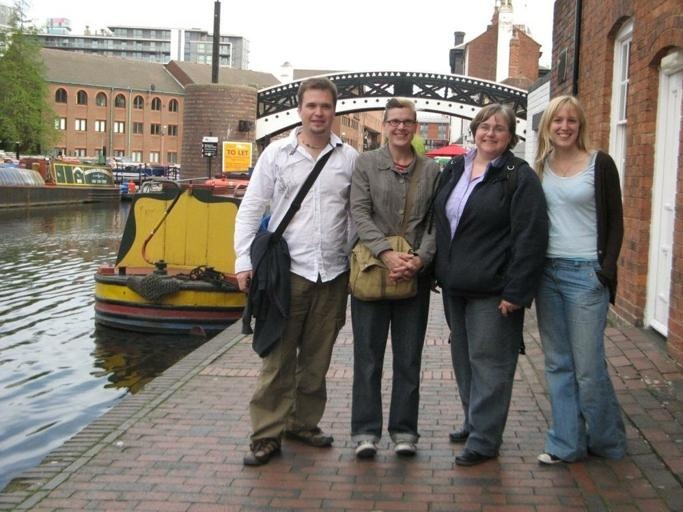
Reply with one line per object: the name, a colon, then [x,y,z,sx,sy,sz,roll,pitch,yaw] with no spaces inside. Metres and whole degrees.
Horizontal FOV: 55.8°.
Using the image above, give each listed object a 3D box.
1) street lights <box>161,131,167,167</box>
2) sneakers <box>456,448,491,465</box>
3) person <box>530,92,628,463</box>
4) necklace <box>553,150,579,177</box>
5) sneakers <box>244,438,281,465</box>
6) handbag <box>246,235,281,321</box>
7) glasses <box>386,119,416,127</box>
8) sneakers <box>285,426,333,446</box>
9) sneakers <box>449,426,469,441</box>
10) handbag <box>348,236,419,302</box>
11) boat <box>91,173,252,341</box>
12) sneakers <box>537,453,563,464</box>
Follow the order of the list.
street lights: [-24.169,-14.512,87.411,0.915,3.903,0.806,-6,8,-38]
sneakers: [0.859,1.340,4.308,0.268,0.103,0.091,4,2,-9]
person: [1.546,0.171,4.203,0.604,2.393,0.334,2,7,22]
necklace: [1.477,-0.604,4.241,0.146,0.150,0.038,19,2,31]
sneakers: [-0.532,1.306,4.392,0.154,0.146,0.318,2,7,25]
handbag: [-0.558,0.157,4.434,0.219,0.670,0.238,4,7,-6]
glasses: [0.400,-0.892,4.339,0.198,0.049,0.052,0,6,1]
sneakers: [-0.245,1.280,4.694,0.361,0.130,0.128,2,3,20]
sneakers: [0.871,1.303,4.722,0.067,0.068,0.183,0,-2,42]
handbag: [0.287,0.083,4.226,0.494,0.399,0.251,0,6,-7]
boat: [-2.634,0.063,9.968,2.282,2.269,0.854,0,7,9]
sneakers: [1.374,1.338,4.259,0.156,0.038,0.060,1,2,-10]
